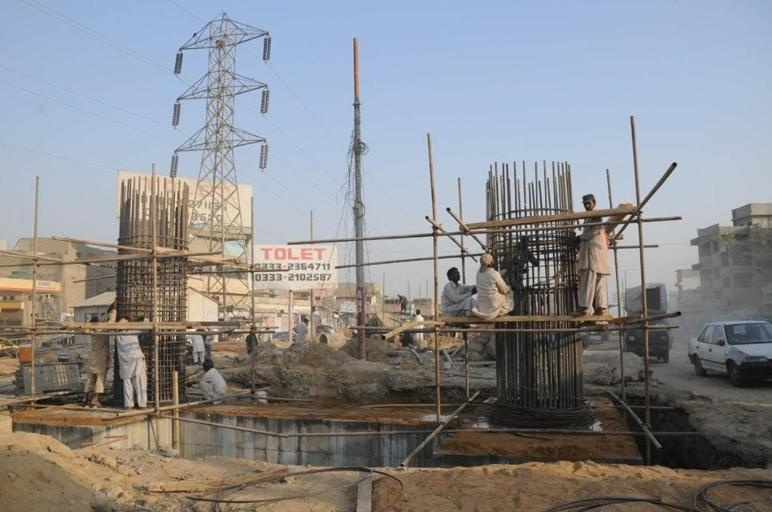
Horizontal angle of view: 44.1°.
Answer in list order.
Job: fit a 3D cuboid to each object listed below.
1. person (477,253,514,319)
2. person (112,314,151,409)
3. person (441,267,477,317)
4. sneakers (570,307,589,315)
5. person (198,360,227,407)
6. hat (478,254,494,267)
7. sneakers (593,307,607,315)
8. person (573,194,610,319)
[{"bbox_3d":[2.995,0.881,27.289,1.017,1.884,0.388,-3,-5,0],"label":"person"},{"bbox_3d":[-7.975,3.620,29.835,0.970,2.282,0.704,-3,-5,-3],"label":"person"},{"bbox_3d":[2.180,1.122,29.255,1.030,1.426,0.563,-3,-5,5],"label":"person"},{"bbox_3d":[5.463,1.598,27.057,0.583,0.232,0.189,4,-9,-29],"label":"sneakers"},{"bbox_3d":[-5.646,4.079,31.244,0.924,1.410,1.620,-2,-5,-11],"label":"person"},{"bbox_3d":[2.684,0.123,25.503,0.377,0.415,0.437,-1,-11,24],"label":"hat"},{"bbox_3d":[6.067,1.563,27.049,0.305,0.199,0.215,-8,5,-22],"label":"sneakers"},{"bbox_3d":[5.772,-0.023,26.773,0.963,3.426,1.086,-4,-5,10],"label":"person"}]
